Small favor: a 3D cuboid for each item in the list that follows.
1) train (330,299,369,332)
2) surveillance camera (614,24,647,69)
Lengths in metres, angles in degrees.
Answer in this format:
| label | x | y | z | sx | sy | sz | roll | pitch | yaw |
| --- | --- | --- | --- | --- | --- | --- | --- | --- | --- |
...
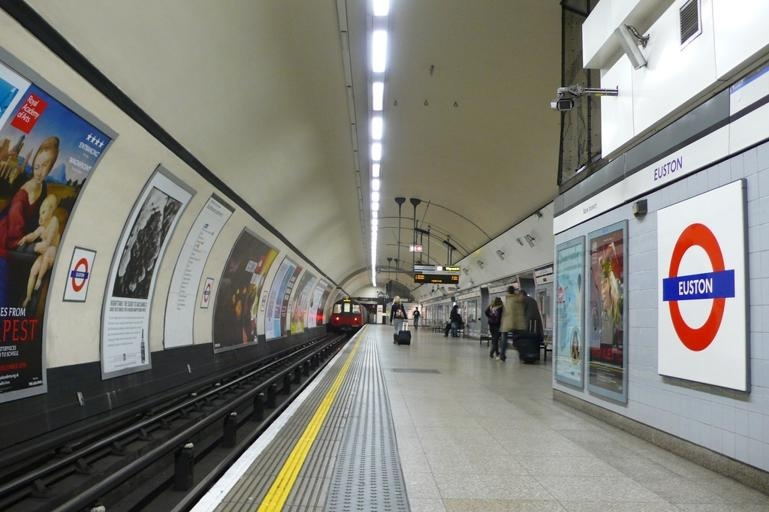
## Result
| label | x | y | z | sx | sy | sz | roll | pitch | yaw |
| --- | --- | --- | --- | --- | --- | --- | --- | --- | --- |
| train | -3.574 | 6.045 | 39.206 | 3.207 | 3.331 | 2.837 | 9 | -14 | -43 |
| surveillance camera | 3.191 | -2.764 | 5.076 | 0.331 | 0.580 | 0.224 | 4 | -11 | -24 |
